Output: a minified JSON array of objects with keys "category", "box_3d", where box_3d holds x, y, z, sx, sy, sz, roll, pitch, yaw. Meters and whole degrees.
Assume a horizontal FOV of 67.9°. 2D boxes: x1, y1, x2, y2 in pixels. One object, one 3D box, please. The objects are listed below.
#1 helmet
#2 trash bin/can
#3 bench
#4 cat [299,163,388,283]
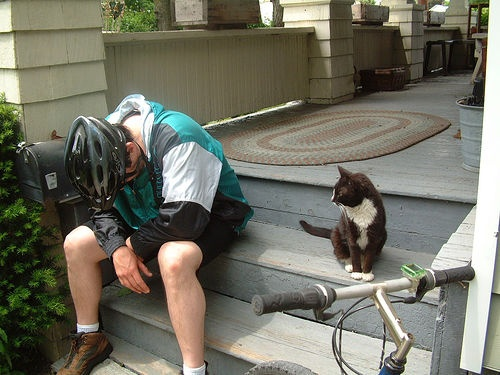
[{"category":"helmet","box_3d":[-0.715,-0.128,1.785,0.250,0.465,0.233,-10,19,-43]},{"category":"trash bin/can","box_3d":[-1.126,0.062,2.224,0.346,0.598,0.275,12,18,32]},{"category":"bench","box_3d":[5.030,-3.336,9.292,1.039,1.025,2.855,8,17,30]},{"category":"cat","box_3d":[0.528,0.128,1.894,0.331,0.466,0.762,4,25,17]}]
